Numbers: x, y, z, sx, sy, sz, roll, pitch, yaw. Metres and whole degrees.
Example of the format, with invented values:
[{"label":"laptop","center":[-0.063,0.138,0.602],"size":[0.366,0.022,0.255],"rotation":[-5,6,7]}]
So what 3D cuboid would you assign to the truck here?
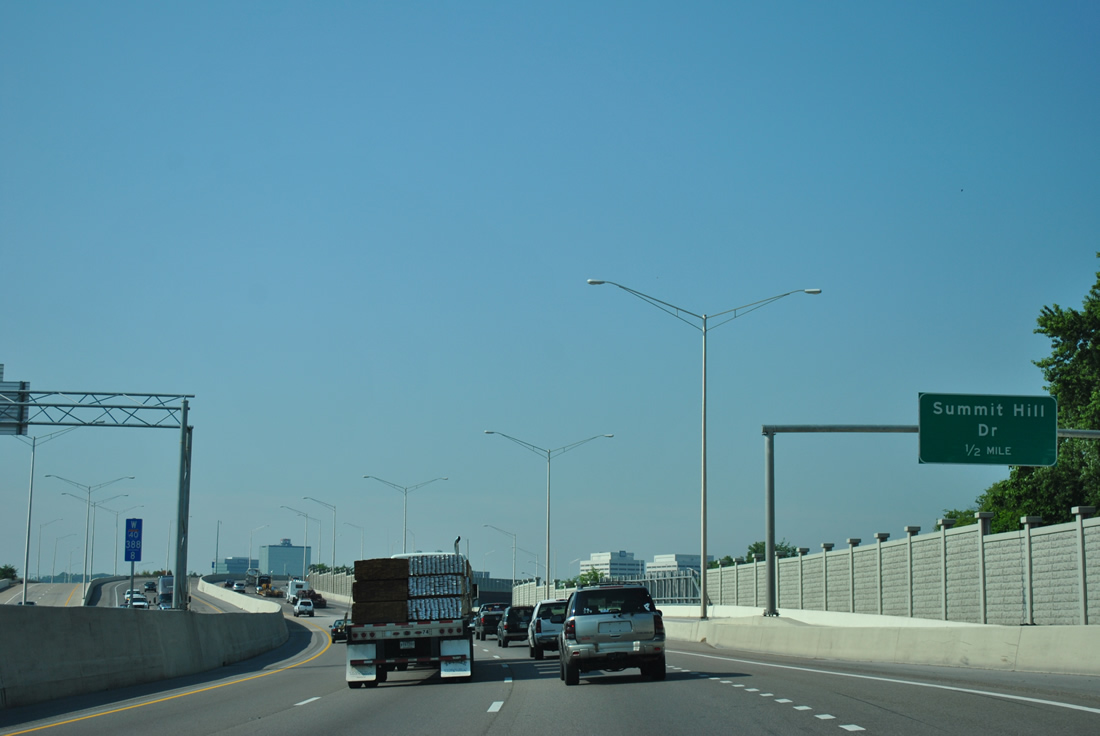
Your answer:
[{"label":"truck","center":[-4.406,7.745,48.876],"size":[3.754,4.065,1.113],"rotation":[-1,-12,-9]}]

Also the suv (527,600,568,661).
[{"label":"suv","center":[-0.117,9.290,56.987],"size":[1.329,1.360,2.879],"rotation":[1,-6,-3]}]
